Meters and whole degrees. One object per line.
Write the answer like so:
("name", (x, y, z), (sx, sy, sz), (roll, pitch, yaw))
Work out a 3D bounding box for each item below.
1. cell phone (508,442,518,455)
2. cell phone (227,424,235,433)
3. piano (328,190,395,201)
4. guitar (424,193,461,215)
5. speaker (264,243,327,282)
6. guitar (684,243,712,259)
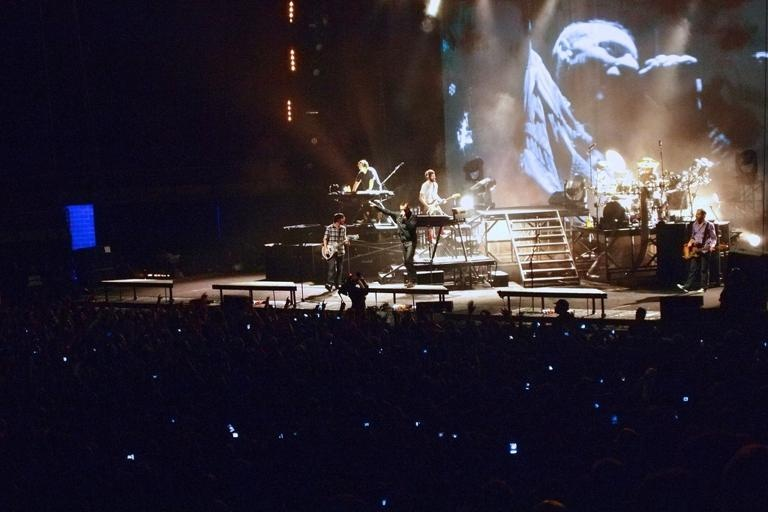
("cell phone", (1.674, 2.482, 10.357), (0.114, 0.127, 0.115), (-2, 2, 15))
("cell phone", (-2.032, 2.277, 10.635), (0.096, 0.097, 0.078), (-3, 5, -26))
("piano", (-0.535, -1.545, 20.144), (1.515, 0.227, 0.734), (-1, 4, -12))
("guitar", (1.549, -1.375, 20.924), (0.886, 0.459, 2.755), (0, 4, 6))
("speaker", (-2.203, -0.027, 20.441), (1.732, 1.161, 0.951), (2, 5, 25))
("guitar", (6.737, -0.103, 17.250), (0.667, 0.312, 0.256), (3, 6, 41))
